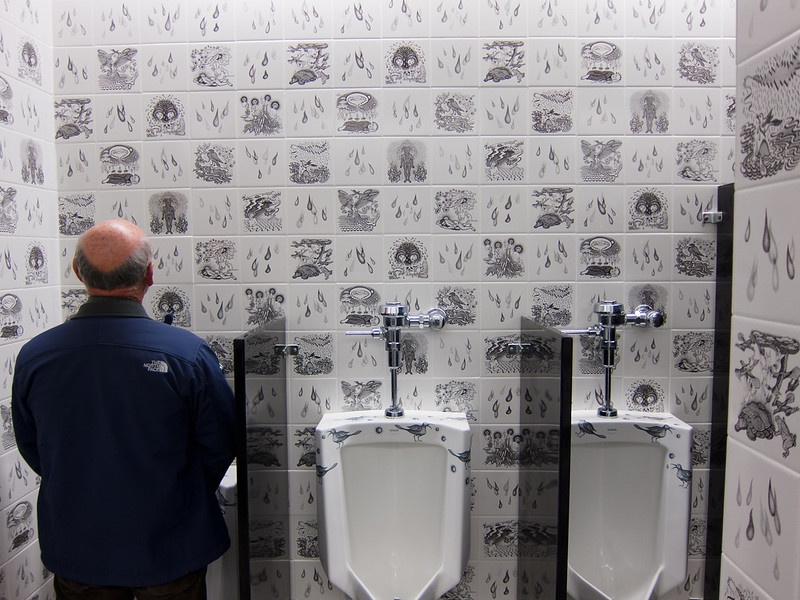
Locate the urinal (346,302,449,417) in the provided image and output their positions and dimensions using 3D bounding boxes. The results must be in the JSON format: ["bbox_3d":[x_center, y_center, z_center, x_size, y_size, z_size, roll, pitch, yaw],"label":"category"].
[{"bbox_3d":[-0.016,0.218,2.634,0.371,0.411,0.138,0,5,6],"label":"urinal"}]

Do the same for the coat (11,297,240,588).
[{"bbox_3d":[-0.909,0.415,2.383,0.633,0.961,0.466,3,14,-4],"label":"coat"}]

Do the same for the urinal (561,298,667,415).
[{"bbox_3d":[0.791,0.212,2.636,0.373,0.414,0.168,0,5,13],"label":"urinal"}]
